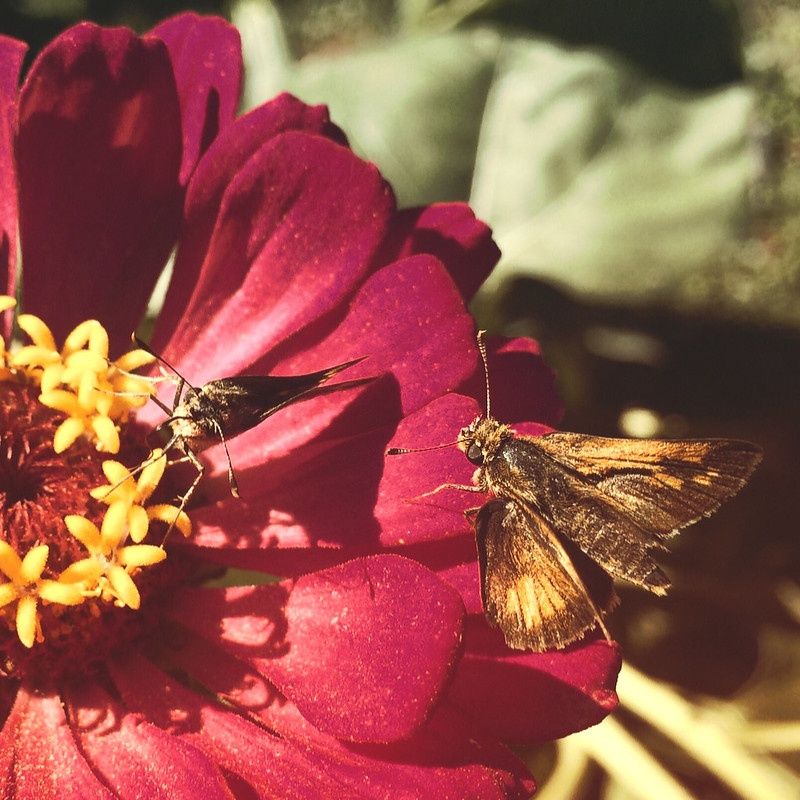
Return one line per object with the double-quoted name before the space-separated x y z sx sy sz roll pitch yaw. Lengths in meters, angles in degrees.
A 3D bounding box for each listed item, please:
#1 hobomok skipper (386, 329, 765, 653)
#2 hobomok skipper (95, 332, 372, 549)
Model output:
"hobomok skipper" 0.082 0.068 0.594 0.178 0.082 0.172 25 49 13
"hobomok skipper" -0.102 0.018 0.661 0.134 0.072 0.134 -47 74 23
